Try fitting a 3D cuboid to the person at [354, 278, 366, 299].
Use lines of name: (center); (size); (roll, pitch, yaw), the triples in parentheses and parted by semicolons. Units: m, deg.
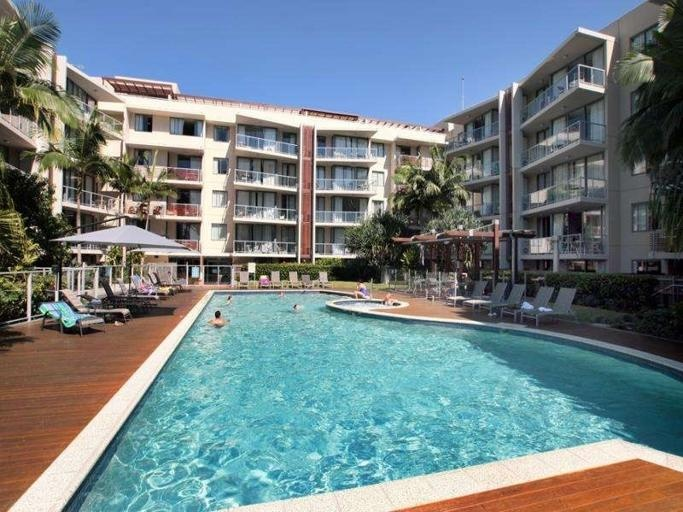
person: (0.992, 1.633, 26.239); (0.525, 1.154, 1.002); (0, 13, -7)
